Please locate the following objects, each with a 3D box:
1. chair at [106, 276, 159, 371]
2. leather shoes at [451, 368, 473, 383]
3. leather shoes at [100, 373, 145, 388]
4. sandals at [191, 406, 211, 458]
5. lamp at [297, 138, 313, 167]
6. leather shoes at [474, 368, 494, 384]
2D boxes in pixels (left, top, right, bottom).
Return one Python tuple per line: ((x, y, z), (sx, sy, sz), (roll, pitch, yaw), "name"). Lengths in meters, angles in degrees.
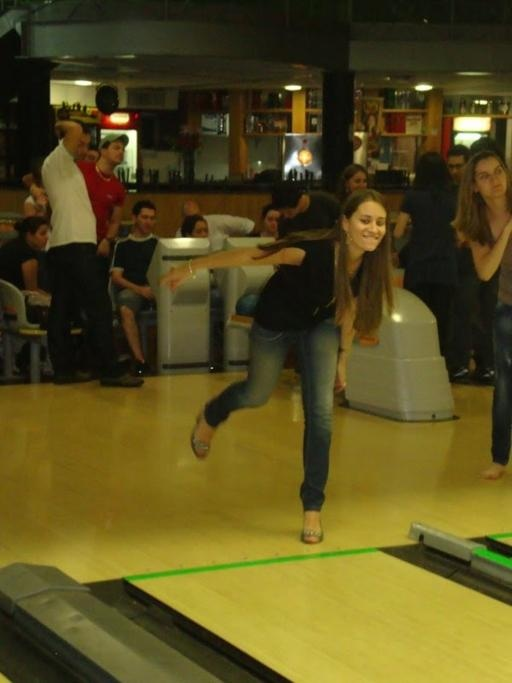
((-0.809, -0.155, 4.159), (0.301, 0.605, 0.172), (-9, 4, -9), "chair")
((1.264, 0.210, 3.838), (0.180, 0.065, 0.059), (7, -9, -37), "leather shoes")
((-0.789, 0.230, 3.697), (0.243, 0.092, 0.094), (-1, 6, -6), "leather shoes")
((-0.169, 0.282, 1.964), (0.062, 0.165, 0.069), (-1, 24, -5), "sandals")
((0.394, -1.602, 5.351), (0.054, 0.197, 0.145), (-4, -11, -6), "lamp")
((1.378, 0.222, 3.815), (0.116, 0.065, 0.113), (2, -13, -11), "leather shoes")
